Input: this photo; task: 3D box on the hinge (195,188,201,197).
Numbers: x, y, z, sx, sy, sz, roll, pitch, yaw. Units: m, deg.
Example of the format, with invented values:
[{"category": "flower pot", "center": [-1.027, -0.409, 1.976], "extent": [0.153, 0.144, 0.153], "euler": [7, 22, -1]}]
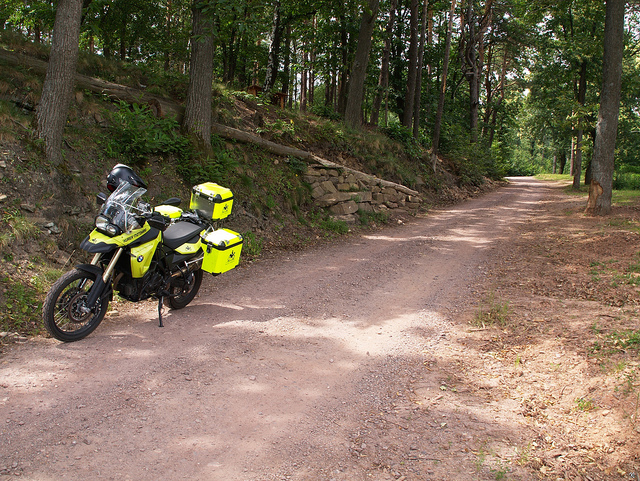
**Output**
[{"category": "hinge", "center": [-2.328, -0.919, 10.787], "extent": [0.098, 0.180, 0.097], "euler": [23, 12, 7]}]

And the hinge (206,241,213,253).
[{"category": "hinge", "center": [-2.054, 0.116, 10.513], "extent": [0.115, 0.168, 0.039], "euler": [11, -2, 13]}]

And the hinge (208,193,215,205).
[{"category": "hinge", "center": [-2.059, -0.814, 10.697], "extent": [0.105, 0.153, 0.044], "euler": [11, 1, 18]}]
